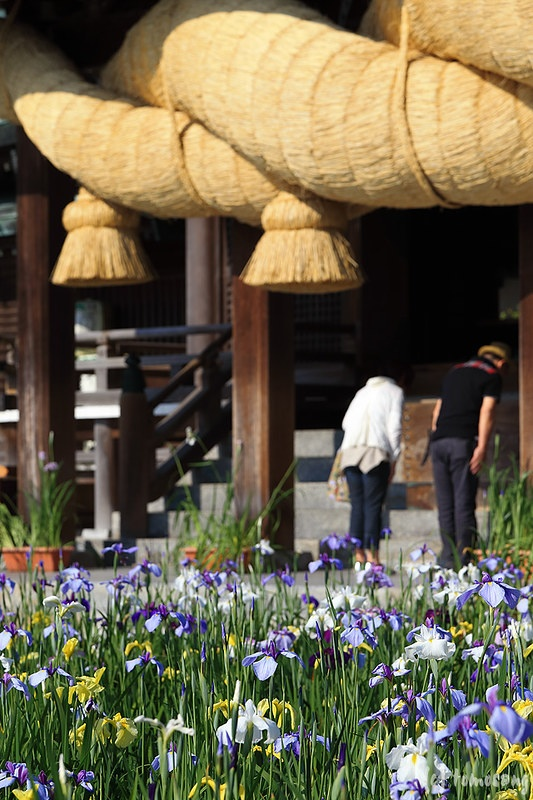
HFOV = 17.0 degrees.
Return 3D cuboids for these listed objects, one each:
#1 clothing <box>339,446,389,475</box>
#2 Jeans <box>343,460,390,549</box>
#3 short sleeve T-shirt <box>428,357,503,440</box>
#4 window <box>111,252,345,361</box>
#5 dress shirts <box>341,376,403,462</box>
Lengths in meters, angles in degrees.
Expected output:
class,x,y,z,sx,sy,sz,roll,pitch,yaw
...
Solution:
class,x,y,z,sx,sy,sz,roll,pitch,yaw
clothing,0.410,0.247,7.518,0.123,0.118,0.125,1,-2,3
Jeans,0.412,0.403,7.512,0.146,0.533,0.143,5,29,14
short sleeve T-shirt,0.853,0.004,7.506,0.139,0.429,0.288,15,-3,-37
window,-0.192,-0.497,9.745,1.143,0.912,0.307,-2,-4,25
dress shirts,0.474,0.094,7.743,0.234,0.402,0.192,-14,-32,41
